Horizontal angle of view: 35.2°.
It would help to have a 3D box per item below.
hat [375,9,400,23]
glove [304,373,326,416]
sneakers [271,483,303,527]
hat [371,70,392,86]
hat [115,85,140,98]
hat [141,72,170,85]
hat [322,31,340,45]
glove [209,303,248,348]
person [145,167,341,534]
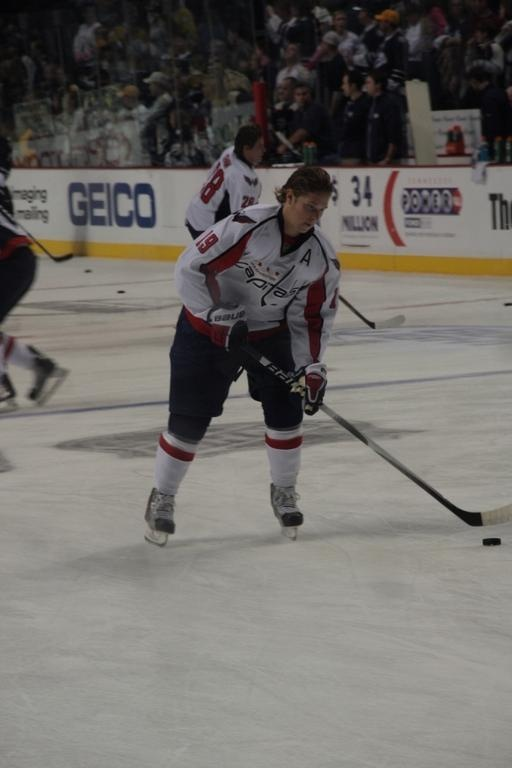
[{"bbox_3d":[1.452,-4.106,9.015,0.251,0.113,0.157,14,55,14],"label":"hat"},{"bbox_3d":[0.162,0.024,2.297,0.073,0.110,0.049,3,3,-3],"label":"glove"},{"bbox_3d":[0.075,0.365,2.437,0.058,0.069,0.163,-10,12,-12],"label":"sneakers"},{"bbox_3d":[1.349,-3.400,8.943,0.211,0.201,0.260,1,10,9],"label":"hat"},{"bbox_3d":[-1.827,-4.194,11.544,0.317,0.144,0.215,11,16,4],"label":"hat"},{"bbox_3d":[-1.404,-4.267,11.317,0.314,0.140,0.212,4,7,1],"label":"hat"},{"bbox_3d":[0.870,-4.118,9.592,0.227,0.180,0.057,7,14,38],"label":"hat"},{"bbox_3d":[-0.082,-0.166,2.219,0.099,0.120,0.129,0,-9,-12],"label":"glove"},{"bbox_3d":[-0.050,-0.069,2.341,0.565,1.054,0.458,0,11,5],"label":"person"}]
